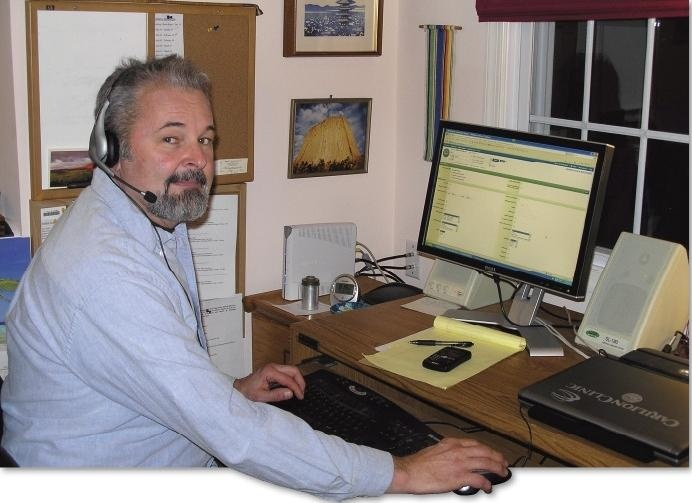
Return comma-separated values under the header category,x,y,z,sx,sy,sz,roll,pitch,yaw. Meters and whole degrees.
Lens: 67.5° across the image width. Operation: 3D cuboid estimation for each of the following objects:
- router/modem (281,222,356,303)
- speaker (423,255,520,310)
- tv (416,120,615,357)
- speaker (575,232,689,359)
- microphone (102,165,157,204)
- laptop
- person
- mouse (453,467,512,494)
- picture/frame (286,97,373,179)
category,x,y,z,sx,sy,sz,roll,pitch,yaw
router/modem,-0.120,0.051,2.243,0.364,0.299,0.113,-4,7,-33
speaker,0.446,0.064,1.871,0.250,0.182,0.169,17,36,28
tv,0.529,-0.019,1.626,0.698,0.653,0.282,16,20,41
speaker,0.866,0.118,1.526,0.313,0.326,0.182,-10,18,-36
microphone,-0.511,-0.161,1.231,0.164,0.028,0.019,31,-37,-16
laptop,0.658,0.360,1.267,0.349,0.078,0.349,13,18,39
person,-0.286,0.088,1.151,1.027,1.031,0.489,4,15,12
mouse,0.295,0.473,1.108,0.104,0.025,0.058,-10,7,-7
picture/frame,-0.089,-0.529,2.364,0.416,0.314,0.026,-8,20,-34
